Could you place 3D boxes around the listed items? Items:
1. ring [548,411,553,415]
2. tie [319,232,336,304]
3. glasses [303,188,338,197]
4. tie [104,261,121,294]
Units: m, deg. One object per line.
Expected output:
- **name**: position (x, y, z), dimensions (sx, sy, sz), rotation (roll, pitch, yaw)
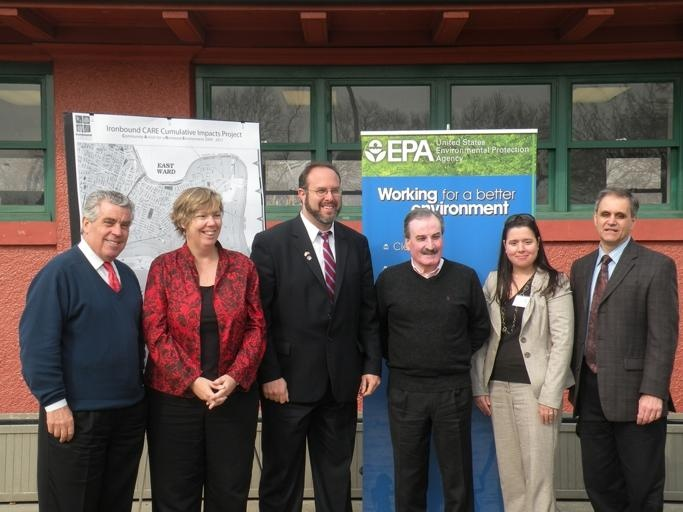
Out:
- **ring**: position (1.485, 1.122, 6.010), dimensions (0.031, 0.030, 0.007), rotation (0, -3, 7)
- **tie**: position (-0.088, 0.092, 6.110), dimensions (0.084, 0.495, 0.054), rotation (-2, -13, -7)
- **glasses**: position (-0.139, -0.454, 6.083), dimensions (0.233, 0.053, 0.080), rotation (-3, 4, -10)
- **tie**: position (-1.554, 0.154, 5.746), dimensions (0.058, 0.027, 0.322), rotation (-8, 36, -25)
